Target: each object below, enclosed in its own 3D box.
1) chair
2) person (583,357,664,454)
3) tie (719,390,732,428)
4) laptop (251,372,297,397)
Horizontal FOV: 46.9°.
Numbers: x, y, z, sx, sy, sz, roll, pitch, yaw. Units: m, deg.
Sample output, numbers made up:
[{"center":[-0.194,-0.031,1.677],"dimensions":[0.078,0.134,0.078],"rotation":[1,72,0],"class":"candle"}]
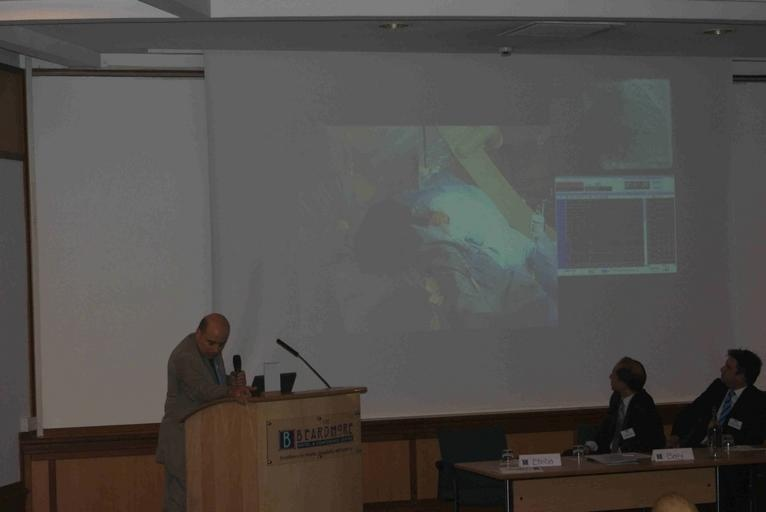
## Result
[{"center":[0.883,2.032,8.640],"dimensions":[1.377,0.524,0.898],"rotation":[1,-6,-25],"class":"chair"},{"center":[2.475,1.512,9.114],"dimensions":[0.871,1.261,0.830],"rotation":[3,-3,1],"class":"person"},{"center":[3.493,1.567,8.997],"dimensions":[0.073,0.346,0.088],"rotation":[17,-31,12],"class":"tie"},{"center":[-0.920,1.073,7.456],"dimensions":[0.408,0.176,0.323],"rotation":[2,-2,-19],"class":"laptop"}]
